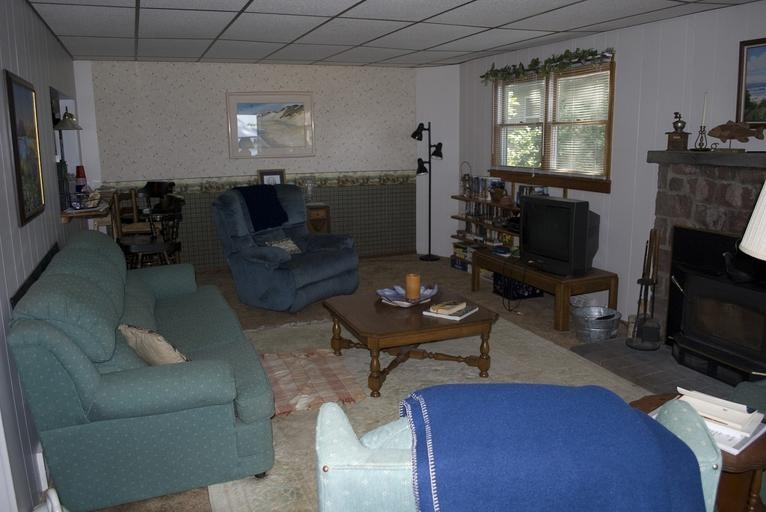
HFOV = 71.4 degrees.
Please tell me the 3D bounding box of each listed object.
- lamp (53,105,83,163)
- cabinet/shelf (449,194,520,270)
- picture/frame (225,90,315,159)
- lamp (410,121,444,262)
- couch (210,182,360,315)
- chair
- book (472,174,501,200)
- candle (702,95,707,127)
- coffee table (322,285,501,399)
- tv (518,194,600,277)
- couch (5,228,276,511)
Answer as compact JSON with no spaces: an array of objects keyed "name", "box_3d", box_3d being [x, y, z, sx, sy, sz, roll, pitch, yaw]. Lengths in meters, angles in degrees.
[{"name":"lamp","box_3d":[-3.127,-1.203,5.256,0.341,0.506,0.288,6,8,-20]},{"name":"cabinet/shelf","box_3d":[1.319,-0.507,6.827,0.449,1.020,1.284,-9,9,-19]},{"name":"picture/frame","box_3d":[-1.598,-1.852,7.352,1.150,0.708,0.040,-3,12,-23]},{"name":"lamp","box_3d":[0.678,-0.952,7.774,0.408,1.968,0.778,-1,16,6]},{"name":"couch","box_3d":[-1.070,-0.139,5.936,1.343,1.049,1.307,20,24,39]},{"name":"chair","box_3d":[-2.598,-0.294,5.903,0.739,0.980,0.842,-4,15,-22]},{"name":"book","box_3d":[1.342,-0.877,6.808,0.234,0.266,0.629,-5,14,-11]},{"name":"candle","box_3d":[2.685,-1.224,4.467,0.030,0.251,0.060,0,16,10]},{"name":"coffee table","box_3d":[0.243,0.567,4.277,1.047,0.413,0.970,-3,12,-24]},{"name":"tv","box_3d":[1.890,-0.239,5.549,0.697,0.779,0.884,-4,12,-23]},{"name":"couch","box_3d":[-1.518,0.647,3.487,1.320,1.308,1.399,-7,15,-16]}]
